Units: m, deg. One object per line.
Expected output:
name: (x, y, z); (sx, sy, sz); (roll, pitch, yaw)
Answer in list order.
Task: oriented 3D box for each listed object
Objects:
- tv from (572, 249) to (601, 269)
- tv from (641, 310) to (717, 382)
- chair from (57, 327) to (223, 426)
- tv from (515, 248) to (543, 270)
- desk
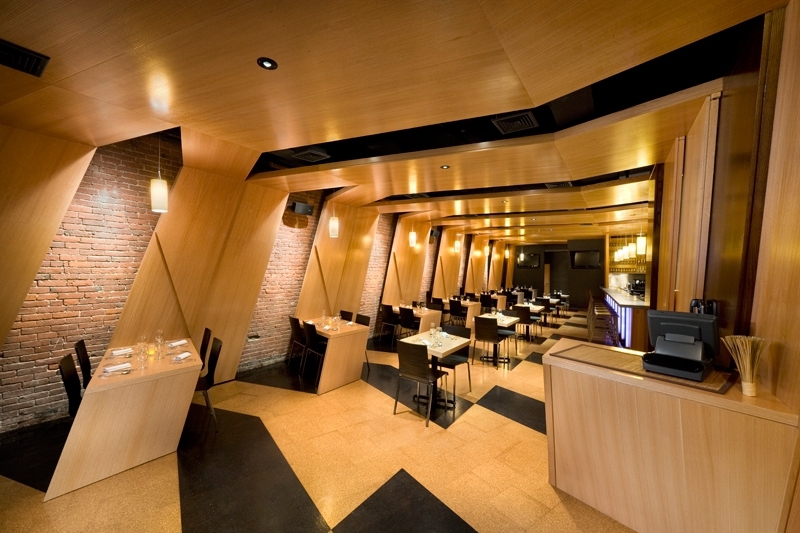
tv: (7.203, -0.257, 18.422); (0.107, 0.741, 1.181); (-6, 10, -37)
tv: (2.854, 0.714, 5.033); (0.792, 0.755, 0.687); (1, 3, 42)
chair: (-3.393, 1.310, 6.221); (1.459, 0.829, 1.336); (-2, 3, -37)
tv: (5.617, -0.349, 20.833); (0.237, 0.876, 1.379); (-5, 9, -32)
desk: (-3.443, 2.202, 6.121); (1.298, 1.533, 2.271); (25, 36, -23)
